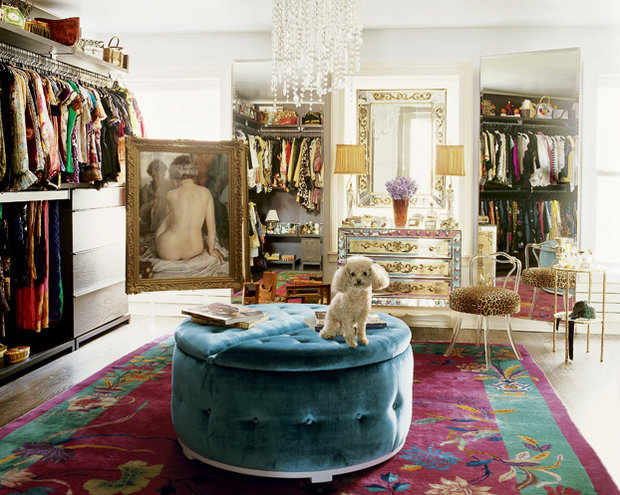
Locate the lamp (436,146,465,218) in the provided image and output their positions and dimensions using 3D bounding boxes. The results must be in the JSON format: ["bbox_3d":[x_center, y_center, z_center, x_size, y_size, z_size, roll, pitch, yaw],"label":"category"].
[{"bbox_3d":[1.457,-0.695,5.032,0.281,0.752,0.449,2,8,15],"label":"lamp"}]

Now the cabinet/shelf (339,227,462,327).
[{"bbox_3d":[0.804,0.190,4.180,0.977,0.977,0.393,-1,1,4],"label":"cabinet/shelf"}]

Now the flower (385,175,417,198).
[{"bbox_3d":[0.974,-0.615,5.012,0.243,0.233,0.252,-1,6,20],"label":"flower"}]

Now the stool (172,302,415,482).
[{"bbox_3d":[-0.079,0.769,2.451,0.804,0.445,0.840,1,2,3],"label":"stool"}]

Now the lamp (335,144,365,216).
[{"bbox_3d":[0.442,-0.718,5.180,0.318,0.744,0.434,1,8,7],"label":"lamp"}]

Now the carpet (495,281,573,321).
[{"bbox_3d":[2.298,0.561,4.859,0.454,0.311,0.439,4,0,28],"label":"carpet"}]

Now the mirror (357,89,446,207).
[{"bbox_3d":[1.036,-1.139,5.260,1.246,1.661,0.071,0,-2,2],"label":"mirror"}]

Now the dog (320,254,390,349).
[{"bbox_3d":[0.227,0.272,2.608,0.264,0.491,0.395,-2,5,-23],"label":"dog"}]

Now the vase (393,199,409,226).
[{"bbox_3d":[0.940,-0.357,4.963,0.137,0.280,0.135,1,8,7],"label":"vase"}]

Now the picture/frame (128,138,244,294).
[{"bbox_3d":[-1.008,-0.288,3.815,1.164,1.550,0.110,0,2,-7],"label":"picture/frame"}]

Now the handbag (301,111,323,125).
[{"bbox_3d":[0.045,-1.467,5.489,0.281,0.123,0.099,3,16,16],"label":"handbag"}]
